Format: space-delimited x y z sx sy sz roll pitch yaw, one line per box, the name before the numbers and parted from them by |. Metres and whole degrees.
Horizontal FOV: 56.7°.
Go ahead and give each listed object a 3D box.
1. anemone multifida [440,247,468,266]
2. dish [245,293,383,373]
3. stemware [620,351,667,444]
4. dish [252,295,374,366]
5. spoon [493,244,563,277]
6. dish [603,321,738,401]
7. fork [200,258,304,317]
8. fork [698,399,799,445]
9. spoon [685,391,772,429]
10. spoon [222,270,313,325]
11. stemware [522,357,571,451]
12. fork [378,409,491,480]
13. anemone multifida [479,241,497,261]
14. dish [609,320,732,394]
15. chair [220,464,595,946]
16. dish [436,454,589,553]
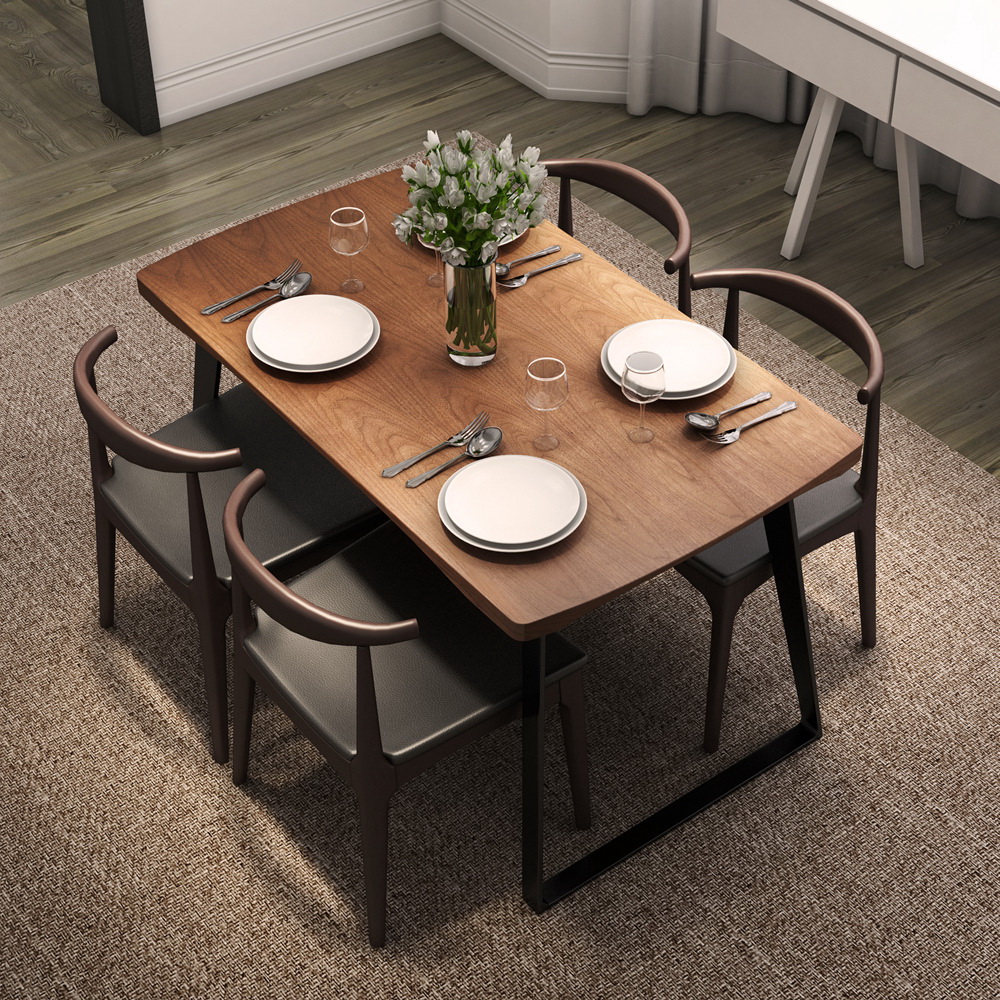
anemone multifida | -0.076 -0.397 1.522 0.033 0.030 0.014 15 54 1
dish | -0.347 -0.322 1.782 0.203 0.026 0.185 -23 47 -26
stemware | 0.239 -0.165 1.543 0.097 0.165 0.077 -5 48 -3
dish | -0.345 -0.322 1.782 0.191 0.025 0.174 -23 46 -26
spoon | 0.052 -0.507 1.979 0.242 0.036 0.054 -20 52 -34
dish | 0.312 -0.256 1.694 0.210 0.025 0.180 -16 42 -16
fork | -0.510 -0.432 1.916 0.272 0.041 0.039 -25 49 -11
fork | 0.421 -0.128 1.572 0.179 0.022 0.026 -20 54 -25
spoon | 0.409 -0.157 1.637 0.207 0.026 0.051 -21 45 -37
spoon | -0.469 -0.404 1.882 0.222 0.033 0.044 -30 51 -17
stemware | 0.077 -0.149 1.526 0.084 0.164 0.068 -13 58 -6
fork | -0.109 -0.086 1.551 0.195 0.031 0.025 -29 48 -17
anemone multifida | -0.017 -0.408 1.533 0.028 0.012 0.026 -11 33 -15
dish | 0.311 -0.258 1.696 0.197 0.017 0.173 -16 42 -16
chair | -0.159 0.364 1.597 0.512 0.660 0.491 -35 62 -21
dish | 0.022 0.007 1.430 0.187 0.016 0.166 -18 43 -19
